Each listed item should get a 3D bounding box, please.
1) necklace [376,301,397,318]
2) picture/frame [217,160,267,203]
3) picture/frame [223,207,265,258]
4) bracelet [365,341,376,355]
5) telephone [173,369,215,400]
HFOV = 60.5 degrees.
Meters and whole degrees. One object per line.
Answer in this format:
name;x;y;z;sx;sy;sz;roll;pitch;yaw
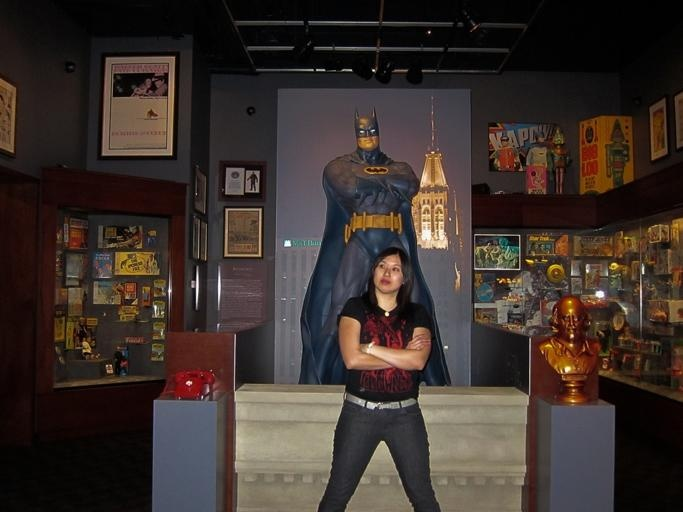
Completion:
necklace;0.293;0.350;3.805;0.087;0.053;0.131;2;26;-4
picture/frame;-1.291;-0.932;7.462;0.481;0.476;0.053;1;-5;-5
picture/frame;-1.255;-0.270;7.417;0.571;0.786;0.052;0;-3;-4
bracelet;0.182;0.581;3.665;0.090;0.075;0.041;-8;-12;34
telephone;-1.028;0.883;4.088;0.280;0.195;0.271;1;0;-13
